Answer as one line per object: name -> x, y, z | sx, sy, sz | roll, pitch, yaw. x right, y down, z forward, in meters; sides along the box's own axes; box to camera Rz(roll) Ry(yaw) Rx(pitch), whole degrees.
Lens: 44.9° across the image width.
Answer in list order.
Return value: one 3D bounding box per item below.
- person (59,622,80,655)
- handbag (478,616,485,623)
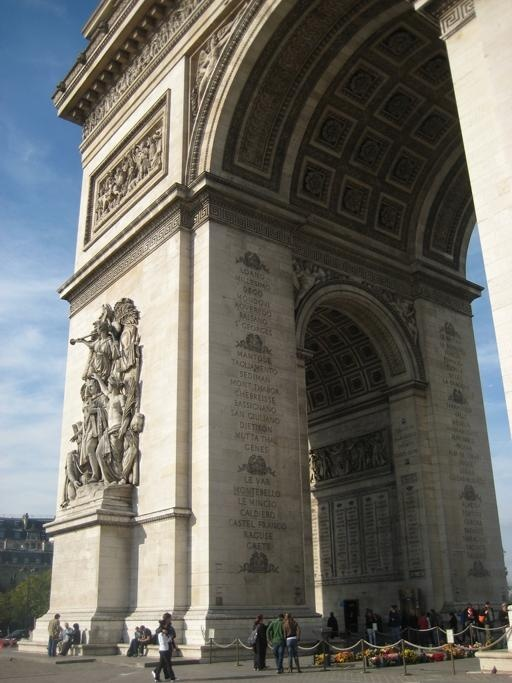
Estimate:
person -> -4.598, 7.330, 15.279 | 0.457, 0.684, 1.005 | 10, -26, -26
handbag -> 5.894, 7.215, 16.124 | 0.232, 0.207, 0.056 | -3, 10, -39
